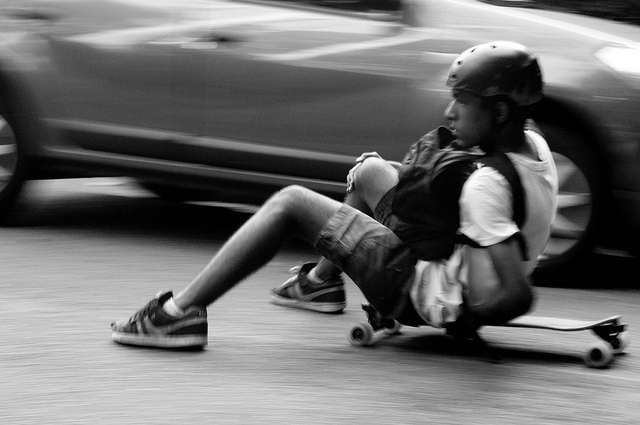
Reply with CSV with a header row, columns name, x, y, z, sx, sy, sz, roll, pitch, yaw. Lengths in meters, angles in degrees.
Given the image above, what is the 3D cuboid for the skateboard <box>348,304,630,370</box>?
name,x,y,z,sx,sy,sz,roll,pitch,yaw
skateboard,0.771,0.551,3.058,1.374,0.191,0.474,0,1,15

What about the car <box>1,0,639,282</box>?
name,x,y,z,sx,sy,sz,roll,pitch,yaw
car,-0.160,-0.662,5.160,4.616,1.867,2.074,-2,0,7

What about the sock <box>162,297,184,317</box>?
name,x,y,z,sx,sy,sz,roll,pitch,yaw
sock,-0.663,0.429,2.862,0.089,0.075,0.084,5,-4,-23

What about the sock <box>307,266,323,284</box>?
name,x,y,z,sx,sy,sz,roll,pitch,yaw
sock,-0.030,0.351,3.508,0.095,0.099,0.023,25,40,23
